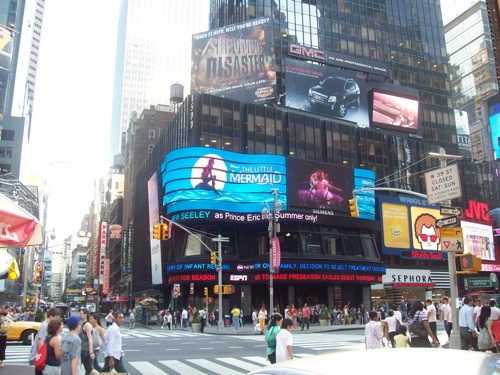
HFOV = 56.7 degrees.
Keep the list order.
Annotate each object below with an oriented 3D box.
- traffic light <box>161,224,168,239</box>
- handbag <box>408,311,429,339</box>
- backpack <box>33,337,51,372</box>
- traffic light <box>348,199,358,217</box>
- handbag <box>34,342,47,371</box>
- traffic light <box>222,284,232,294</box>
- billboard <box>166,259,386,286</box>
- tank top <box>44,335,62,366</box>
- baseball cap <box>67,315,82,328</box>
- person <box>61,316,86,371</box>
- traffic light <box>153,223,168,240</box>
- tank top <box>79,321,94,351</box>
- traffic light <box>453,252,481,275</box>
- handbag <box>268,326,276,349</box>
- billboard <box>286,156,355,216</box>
[{"bbox_3d":[-5.475,2.796,29.622,0.440,0.965,0.521,0,-15,-5],"label":"traffic light"},{"bbox_3d":[5.321,4.332,14.688,0.534,0.811,0.386,-7,-16,20],"label":"handbag"},{"bbox_3d":[-4.714,3.781,10.476,0.259,0.665,0.257,6,-17,-24],"label":"backpack"},{"bbox_3d":[5.503,1.029,24.737,0.384,1.025,1.484,-5,-16,13],"label":"traffic light"},{"bbox_3d":[-4.712,3.803,10.440,0.255,0.602,0.201,4,-16,-18],"label":"handbag"},{"bbox_3d":[-1.791,8.067,36.751,0.573,0.527,0.942,0,-16,-6],"label":"traffic light"},{"bbox_3d":[3.094,9.735,52.184,25.076,2.068,9.957,2,-12,-14],"label":"billboard"},{"bbox_3d":[-4.533,3.770,10.814,0.409,0.802,0.581,-4,-14,-19],"label":"tank top"},{"bbox_3d":[-4.235,3.204,11.097,0.263,0.241,0.385,5,-17,-21],"label":"baseball cap"},{"bbox_3d":[-4.416,3.894,11.512,0.483,1.317,2.086,4,-17,-19],"label":"person"},{"bbox_3d":[-5.670,2.688,29.580,0.845,1.217,1.671,1,-16,-8],"label":"traffic light"},{"bbox_3d":[-4.640,4.135,12.935,0.218,0.782,0.455,8,-18,-31],"label":"tank top"},{"bbox_3d":[7.756,2.660,16.207,0.862,0.893,0.849,2,-7,-3],"label":"traffic light"},{"bbox_3d":[0.594,4.084,12.635,0.222,0.588,0.354,-1,-15,1],"label":"handbag"},{"bbox_3d":[8.073,0.035,53.042,8.645,6.561,0.188,7,-23,-14],"label":"billboard"}]
